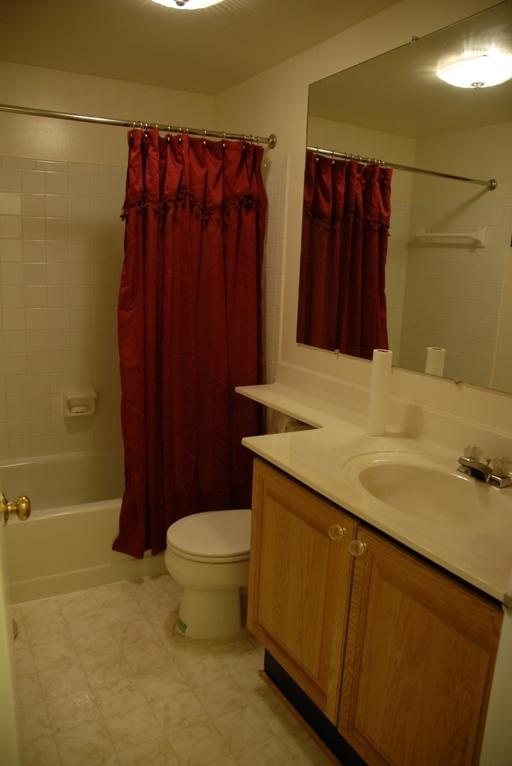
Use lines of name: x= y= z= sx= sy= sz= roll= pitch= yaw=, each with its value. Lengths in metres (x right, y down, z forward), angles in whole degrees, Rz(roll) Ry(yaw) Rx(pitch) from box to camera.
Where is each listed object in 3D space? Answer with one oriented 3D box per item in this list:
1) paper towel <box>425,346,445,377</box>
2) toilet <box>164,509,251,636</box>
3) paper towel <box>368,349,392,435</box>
paper towel: x=0.515 y=-0.060 z=1.535 sx=0.051 sy=0.132 sz=0.059 roll=3 pitch=5 yaw=11
toilet: x=-0.172 y=0.716 z=1.915 sx=0.289 sy=0.410 sz=0.330 roll=1 pitch=6 yaw=0
paper towel: x=0.375 y=0.045 z=1.558 sx=0.050 sy=0.284 sz=0.056 roll=0 pitch=-1 yaw=41
